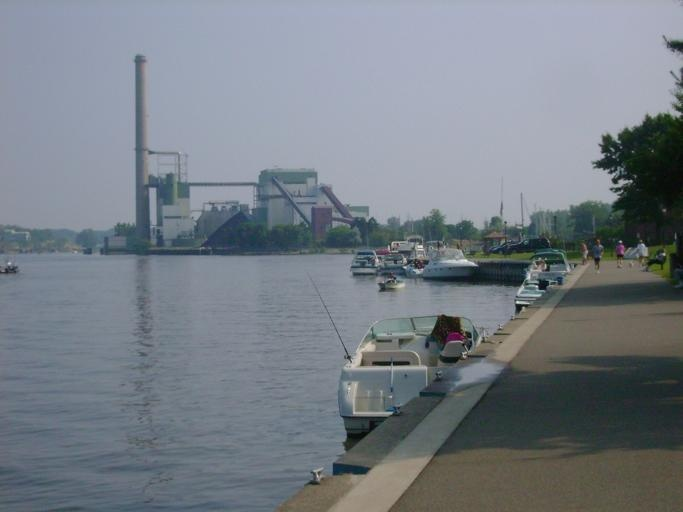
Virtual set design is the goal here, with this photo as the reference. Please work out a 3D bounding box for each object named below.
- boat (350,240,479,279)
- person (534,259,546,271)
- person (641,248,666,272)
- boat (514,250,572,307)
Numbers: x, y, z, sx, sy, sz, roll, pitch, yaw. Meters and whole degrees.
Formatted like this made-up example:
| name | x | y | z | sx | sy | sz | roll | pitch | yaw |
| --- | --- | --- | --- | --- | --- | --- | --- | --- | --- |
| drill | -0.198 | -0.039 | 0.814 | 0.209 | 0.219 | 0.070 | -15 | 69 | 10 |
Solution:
| name | x | y | z | sx | sy | sz | roll | pitch | yaw |
| --- | --- | --- | --- | --- | --- | --- | --- | --- | --- |
| boat | 9.270 | 0.863 | 104.931 | 3.353 | 4.258 | 16.510 | 1 | -3 | -16 |
| person | 13.369 | 0.694 | 68.086 | 0.749 | 0.613 | 1.876 | 1 | 11 | 10 |
| person | 21.269 | 0.386 | 69.213 | 0.624 | 1.086 | 2.436 | 9 | 34 | 45 |
| boat | 12.396 | 2.190 | 61.919 | 2.864 | 3.220 | 9.336 | 3 | 13 | 13 |
